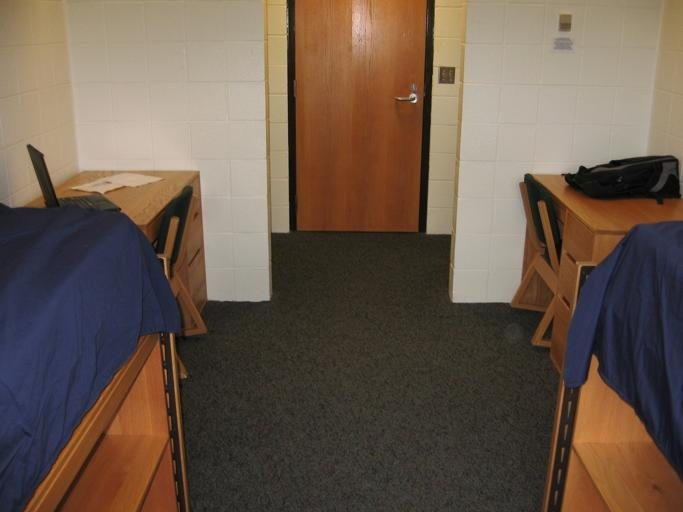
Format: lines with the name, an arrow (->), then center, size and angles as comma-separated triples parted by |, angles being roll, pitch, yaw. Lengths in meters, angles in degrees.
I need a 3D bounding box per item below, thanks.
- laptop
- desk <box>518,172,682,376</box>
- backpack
laptop -> -1.206, -0.321, 2.232 | 0.256, 0.218, 0.294 | -1, 6, -25
desk -> 1.141, 0.048, 2.284 | 0.445, 0.692, 0.946 | 2, 23, 6
backpack -> 1.644, -0.441, 2.979 | 0.395, 0.163, 0.369 | -1, 23, 2
